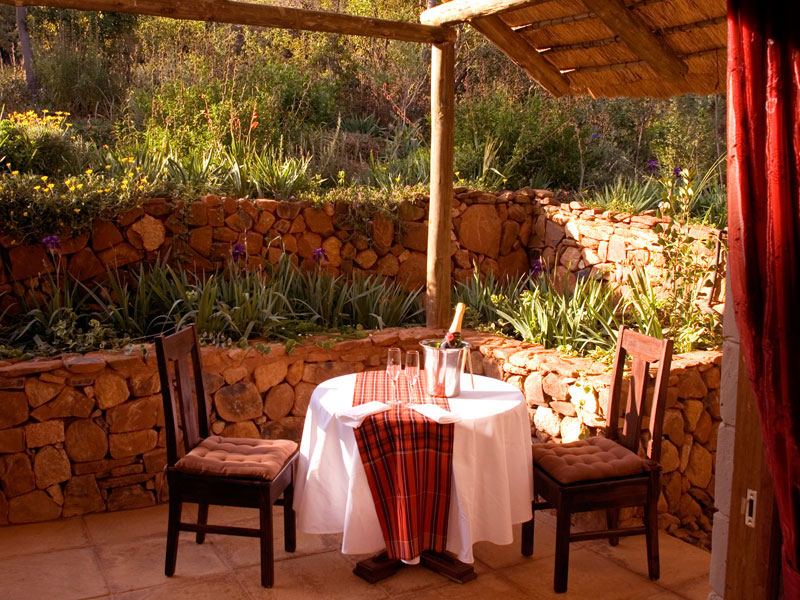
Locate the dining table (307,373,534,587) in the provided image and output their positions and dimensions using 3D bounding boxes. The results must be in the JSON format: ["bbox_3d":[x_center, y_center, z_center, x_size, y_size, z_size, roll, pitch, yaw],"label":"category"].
[{"bbox_3d":[0.110,1.029,3.787,0.980,0.634,1.075,0,7,-3],"label":"dining table"}]

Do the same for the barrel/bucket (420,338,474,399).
[{"bbox_3d":[0.272,0.403,3.729,0.292,0.301,0.295,2,7,0],"label":"barrel/bucket"}]

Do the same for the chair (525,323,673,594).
[{"bbox_3d":[1.317,0.927,3.883,0.776,1.524,1.301,7,11,34],"label":"chair"}]

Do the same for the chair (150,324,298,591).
[{"bbox_3d":[-1.021,0.913,3.753,0.834,1.384,0.857,1,1,19],"label":"chair"}]
